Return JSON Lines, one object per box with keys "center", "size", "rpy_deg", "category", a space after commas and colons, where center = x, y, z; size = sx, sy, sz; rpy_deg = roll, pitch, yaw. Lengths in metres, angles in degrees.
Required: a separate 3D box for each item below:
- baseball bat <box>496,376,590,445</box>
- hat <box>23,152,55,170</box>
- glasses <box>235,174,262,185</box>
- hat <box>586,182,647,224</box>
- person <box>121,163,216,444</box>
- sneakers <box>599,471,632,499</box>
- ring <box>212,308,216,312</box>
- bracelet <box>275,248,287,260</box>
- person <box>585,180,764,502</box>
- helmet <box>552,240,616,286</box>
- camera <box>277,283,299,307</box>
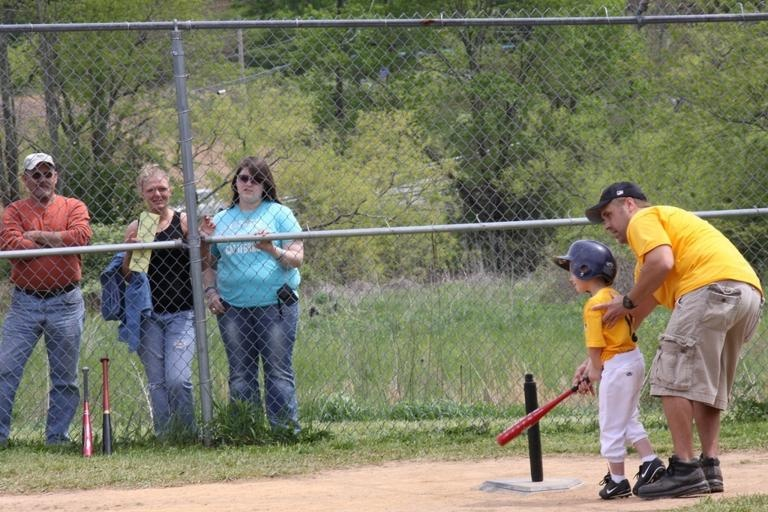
{"center": [1.757, 1.693, 14.668], "size": [1.226, 0.172, 0.185], "rpy_deg": [-34, -37, -5], "category": "baseball bat"}
{"center": [-3.883, -1.047, 14.849], "size": [0.320, 0.237, 0.438], "rpy_deg": [0, -4, -17], "category": "hat"}
{"center": [-1.478, -0.839, 14.560], "size": [0.260, 0.104, 0.084], "rpy_deg": [-2, -4, -2], "category": "glasses"}
{"center": [2.292, -0.538, 13.327], "size": [0.540, 0.272, 0.348], "rpy_deg": [0, -2, 7], "category": "hat"}
{"center": [-2.459, 0.460, 14.633], "size": [0.728, 2.957, 0.471], "rpy_deg": [-1, -4, -9], "category": "person"}
{"center": [2.255, 2.195, 13.000], "size": [0.314, 0.258, 0.170], "rpy_deg": [-2, -4, 8], "category": "sneakers"}
{"center": [-1.872, 0.577, 14.502], "size": [0.045, 0.042, 0.028], "rpy_deg": [-3, 2, -24], "category": "ring"}
{"center": [-1.144, -0.036, 14.538], "size": [0.113, 0.085, 0.110], "rpy_deg": [0, -5, 5], "category": "bracelet"}
{"center": [2.935, 0.765, 13.043], "size": [1.550, 3.062, 0.530], "rpy_deg": [-2, -4, 6], "category": "person"}
{"center": [2.008, 0.062, 13.214], "size": [0.562, 0.363, 0.383], "rpy_deg": [13, -9, 15], "category": "helmet"}
{"center": [-1.078, 0.413, 14.573], "size": [0.182, 0.228, 0.081], "rpy_deg": [-43, 23, -13], "category": "camera"}
